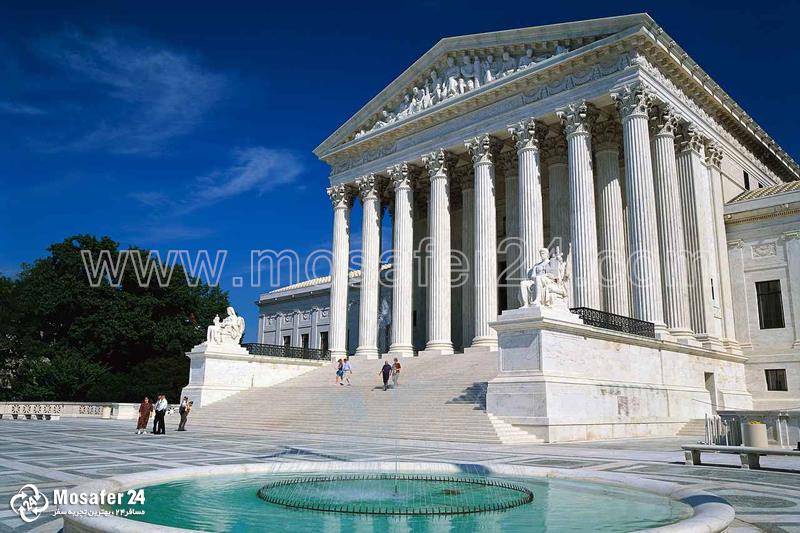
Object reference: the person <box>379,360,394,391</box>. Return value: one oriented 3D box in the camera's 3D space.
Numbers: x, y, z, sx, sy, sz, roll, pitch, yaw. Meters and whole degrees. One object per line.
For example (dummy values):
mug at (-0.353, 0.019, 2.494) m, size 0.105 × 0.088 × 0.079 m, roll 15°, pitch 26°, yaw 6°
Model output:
person at (-0.676, 5.706, 31.751) m, size 0.684 × 1.068 × 1.846 m, roll -12°, pitch 5°, yaw 3°
